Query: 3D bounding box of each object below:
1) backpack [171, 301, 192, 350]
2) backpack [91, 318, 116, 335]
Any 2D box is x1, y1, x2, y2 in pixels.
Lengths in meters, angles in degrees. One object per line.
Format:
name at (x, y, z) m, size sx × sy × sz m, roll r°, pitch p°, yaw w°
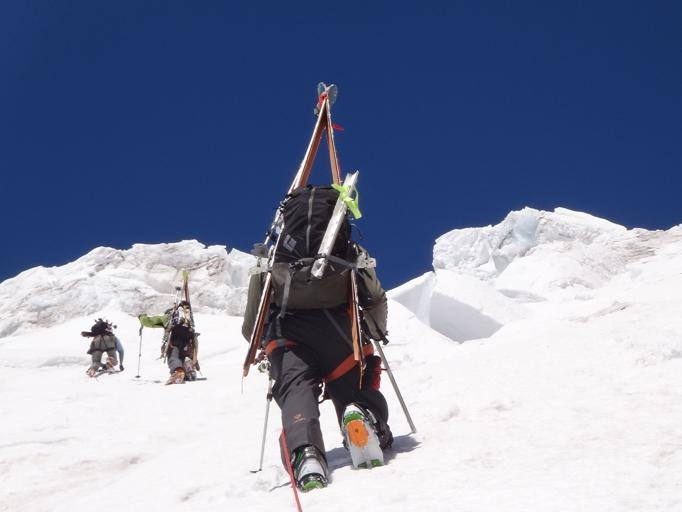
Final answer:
backpack at (-3.518, 1.523, 18.375) m, size 0.454 × 0.891 × 0.820 m, roll -7°, pitch 11°, yaw 2°
backpack at (-6.041, 1.937, 21.233) m, size 0.671 × 0.305 × 0.540 m, roll -7°, pitch 21°, yaw -20°
